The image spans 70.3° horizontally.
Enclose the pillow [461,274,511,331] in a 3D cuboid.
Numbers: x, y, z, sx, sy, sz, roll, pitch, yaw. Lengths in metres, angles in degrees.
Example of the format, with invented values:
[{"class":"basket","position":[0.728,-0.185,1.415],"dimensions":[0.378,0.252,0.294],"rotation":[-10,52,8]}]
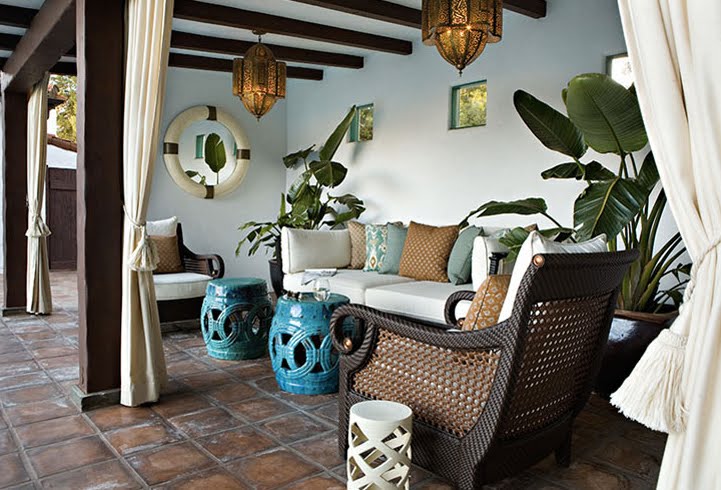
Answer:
[{"class":"pillow","position":[0.645,0.304,2.640],"dimensions":[0.139,0.277,0.267],"rotation":[33,18,13]}]

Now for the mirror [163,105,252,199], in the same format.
[{"class":"mirror","position":[-2.126,-1.267,6.934],"dimensions":[1.401,1.407,0.200],"rotation":[0,-2,-36]}]

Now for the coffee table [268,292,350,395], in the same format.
[{"class":"coffee table","position":[-0.312,0.756,3.930],"dimensions":[0.671,0.645,0.671],"rotation":[-8,2,20]}]

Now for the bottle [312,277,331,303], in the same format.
[{"class":"bottle","position":[-0.283,0.321,3.781],"dimensions":[0.143,0.181,0.137],"rotation":[-1,2,0]}]

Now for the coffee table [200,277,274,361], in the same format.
[{"class":"coffee table","position":[-1.098,0.643,4.554],"dimensions":[0.626,0.620,0.623],"rotation":[2,6,-2]}]

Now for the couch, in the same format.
[{"class":"couch","position":[0.245,0.328,5.074],"dimensions":[0.851,0.886,2.371],"rotation":[-17,14,-36]}]

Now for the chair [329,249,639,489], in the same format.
[{"class":"chair","position":[0.611,0.512,2.867],"dimensions":[1.174,1.193,1.345],"rotation":[-1,3,-39]}]

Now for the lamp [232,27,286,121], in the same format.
[{"class":"lamp","position":[-1.008,-1.646,5.105],"dimensions":[0.473,0.709,0.289],"rotation":[5,9,25]}]

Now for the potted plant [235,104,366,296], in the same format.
[{"class":"potted plant","position":[-0.768,-0.592,6.851],"dimensions":[1.712,2.405,1.724],"rotation":[6,-6,-28]}]

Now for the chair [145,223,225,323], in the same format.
[{"class":"chair","position":[-2.020,0.255,5.403],"dimensions":[0.966,1.072,0.744],"rotation":[6,7,42]}]

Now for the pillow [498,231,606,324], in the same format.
[{"class":"pillow","position":[0.928,0.140,2.418],"dimensions":[0.705,0.434,0.273],"rotation":[-4,9,-35]}]
